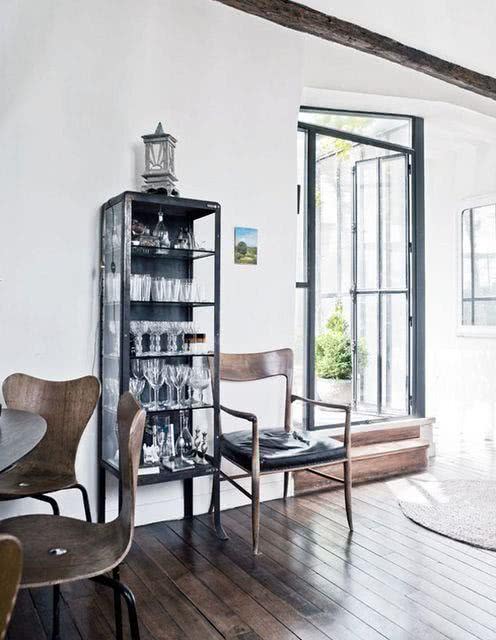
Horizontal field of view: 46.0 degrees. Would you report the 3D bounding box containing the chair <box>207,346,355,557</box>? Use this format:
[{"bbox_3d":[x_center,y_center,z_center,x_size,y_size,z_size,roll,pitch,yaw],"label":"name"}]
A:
[{"bbox_3d":[0.138,0.623,2.981,0.525,1.059,0.630,0,-3,-26],"label":"chair"}]

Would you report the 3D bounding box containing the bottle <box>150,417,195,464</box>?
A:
[{"bbox_3d":[-0.353,0.588,2.773,0.200,0.192,0.122,0,1,-30],"label":"bottle"}]

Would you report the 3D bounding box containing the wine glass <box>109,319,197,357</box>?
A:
[{"bbox_3d":[-0.436,0.076,2.773,0.451,0.158,0.211,-1,1,-41],"label":"wine glass"}]
